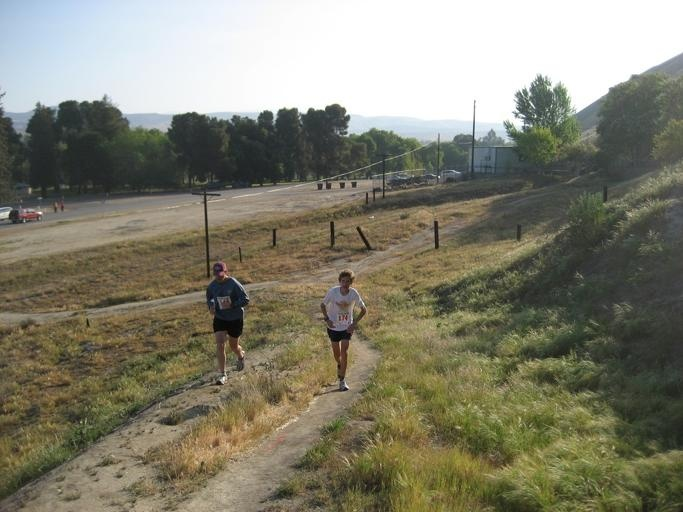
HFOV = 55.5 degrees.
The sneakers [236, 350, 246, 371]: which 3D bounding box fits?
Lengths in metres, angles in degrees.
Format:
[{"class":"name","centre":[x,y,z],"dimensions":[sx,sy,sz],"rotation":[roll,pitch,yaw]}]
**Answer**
[{"class":"sneakers","centre":[-3.142,3.354,20.388],"dimensions":[0.200,0.756,0.270],"rotation":[3,3,17]}]

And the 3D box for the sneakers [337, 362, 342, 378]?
[{"class":"sneakers","centre":[-0.021,3.404,18.965],"dimensions":[0.110,0.202,0.398],"rotation":[8,25,-10]}]
